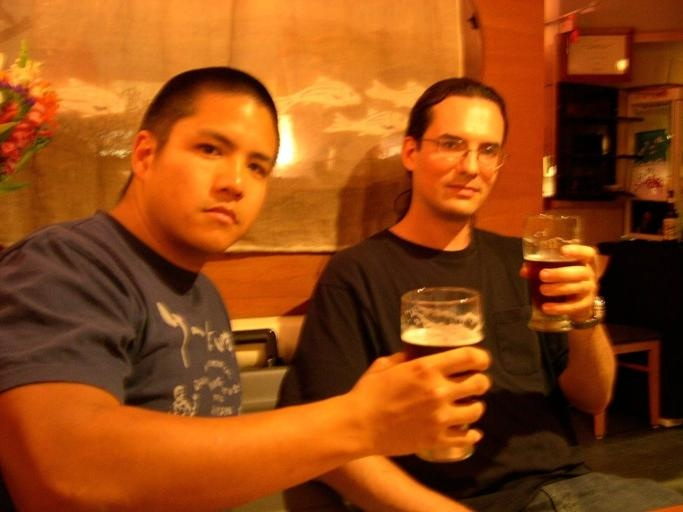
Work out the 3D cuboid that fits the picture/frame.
[{"bbox_3d":[2.328,-1.857,5.211,0.736,0.470,0.089,-5,10,-10],"label":"picture/frame"}]
